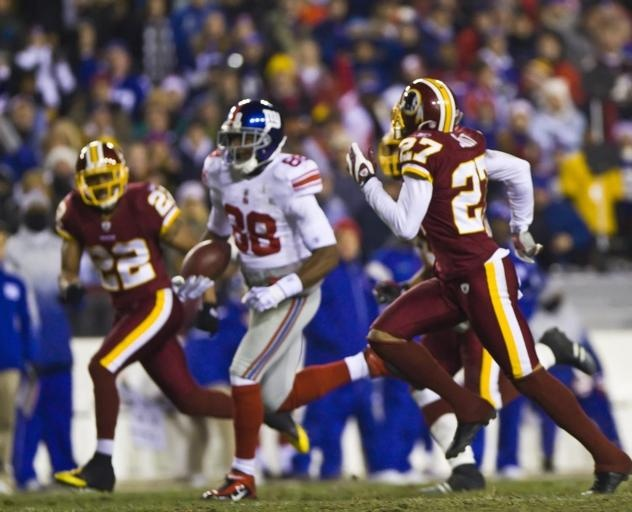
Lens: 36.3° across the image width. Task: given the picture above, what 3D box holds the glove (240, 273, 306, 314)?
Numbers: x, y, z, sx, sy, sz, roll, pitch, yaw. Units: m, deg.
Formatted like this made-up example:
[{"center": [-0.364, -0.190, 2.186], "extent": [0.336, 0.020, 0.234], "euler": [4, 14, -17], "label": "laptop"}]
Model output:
[{"center": [-0.230, 0.202, 5.076], "extent": [0.273, 0.110, 0.191], "euler": [-32, 46, -13], "label": "glove"}]

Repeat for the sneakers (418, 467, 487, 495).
[{"center": [0.764, 1.295, 5.525], "extent": [0.456, 0.210, 0.143], "euler": [3, -17, -11], "label": "sneakers"}]

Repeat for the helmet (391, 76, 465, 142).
[{"center": [0.590, -0.806, 5.252], "extent": [0.370, 0.335, 0.281], "euler": [14, 16, 38], "label": "helmet"}]

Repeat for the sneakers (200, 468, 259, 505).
[{"center": [-0.454, 1.224, 5.076], "extent": [0.117, 0.170, 0.353], "euler": [-24, -27, 39], "label": "sneakers"}]

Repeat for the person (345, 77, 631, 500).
[{"center": [0.824, 0.154, 5.175], "extent": [1.225, 2.254, 0.514], "euler": [-2, -4, -15], "label": "person"}]

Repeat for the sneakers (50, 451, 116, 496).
[{"center": [-1.238, 1.144, 5.200], "extent": [0.138, 0.252, 0.377], "euler": [-18, -24, 36], "label": "sneakers"}]

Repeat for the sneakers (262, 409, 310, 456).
[{"center": [-0.152, 0.983, 5.514], "extent": [0.141, 0.360, 0.131], "euler": [-42, 1, 10], "label": "sneakers"}]

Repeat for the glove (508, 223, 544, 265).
[{"center": [1.215, -0.082, 5.504], "extent": [0.092, 0.199, 0.145], "euler": [-7, -37, -47], "label": "glove"}]

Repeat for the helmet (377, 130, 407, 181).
[{"center": [0.454, -0.612, 5.764], "extent": [0.194, 0.261, 0.250], "euler": [2, 3, -16], "label": "helmet"}]

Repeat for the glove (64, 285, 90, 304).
[{"center": [-1.382, 0.215, 5.481], "extent": [0.117, 0.108, 0.200], "euler": [-2, -4, -15], "label": "glove"}]

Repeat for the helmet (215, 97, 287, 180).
[{"center": [-0.350, -0.659, 5.284], "extent": [0.326, 0.413, 0.432], "euler": [8, 10, 35], "label": "helmet"}]
